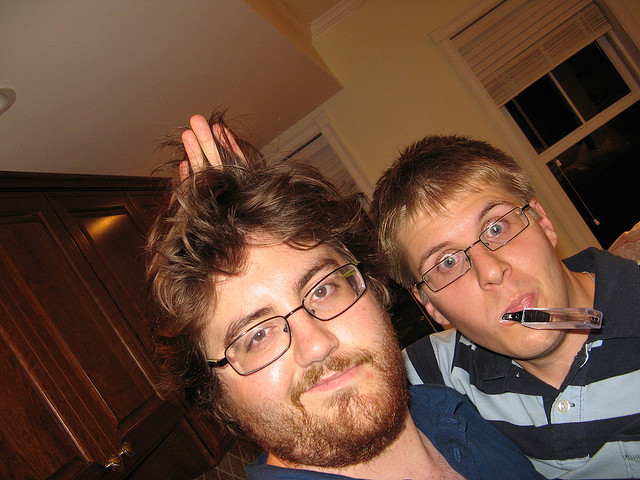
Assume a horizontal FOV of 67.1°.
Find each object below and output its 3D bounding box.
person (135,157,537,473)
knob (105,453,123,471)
[{"bbox_3d":[-0.075,0.405,1.903,0.941,1.421,0.619,-23,-1,-6],"label":"person"},{"bbox_3d":[-0.824,0.887,1.921,0.017,0.070,0.063,-31,-4,27],"label":"knob"}]
